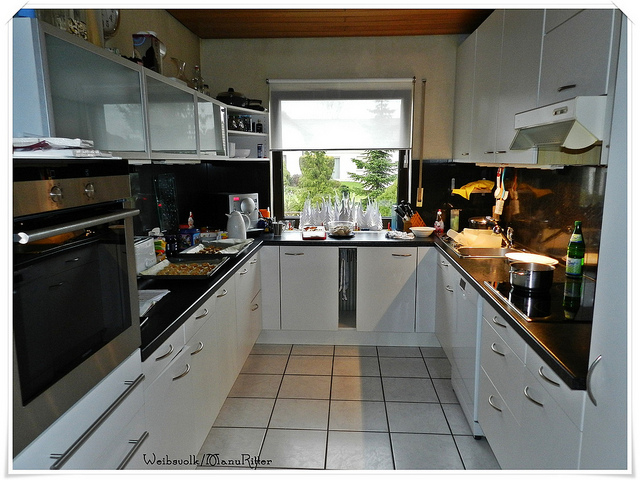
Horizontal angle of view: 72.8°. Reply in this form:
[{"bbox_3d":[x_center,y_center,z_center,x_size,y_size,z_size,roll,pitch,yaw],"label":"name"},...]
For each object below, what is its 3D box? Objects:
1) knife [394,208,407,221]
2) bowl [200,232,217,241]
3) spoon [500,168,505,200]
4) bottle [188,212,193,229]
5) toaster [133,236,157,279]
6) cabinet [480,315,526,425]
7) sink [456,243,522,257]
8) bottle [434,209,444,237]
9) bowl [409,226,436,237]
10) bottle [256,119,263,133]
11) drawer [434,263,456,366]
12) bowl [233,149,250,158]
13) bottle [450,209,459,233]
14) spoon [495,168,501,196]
[{"bbox_3d":[0.815,-0.265,4.330,0.040,0.157,0.042,-35,-25,10],"label":"knife"},{"bbox_3d":[-0.987,-0.038,3.880,0.143,0.062,0.059,1,10,5],"label":"bowl"},{"bbox_3d":[1.545,-0.483,3.656,0.039,0.253,0.202,4,11,23],"label":"spoon"},{"bbox_3d":[-1.122,-0.176,3.778,0.038,0.119,0.167,-3,10,-16],"label":"bottle"},{"bbox_3d":[-1.125,0.113,2.800,0.150,0.187,0.252,0,10,0],"label":"toaster"},{"bbox_3d":[0.996,0.689,2.373,0.292,0.333,0.464,1,14,0],"label":"cabinet"},{"bbox_3d":[1.317,0.073,3.477,0.324,0.077,0.199,1,8,6],"label":"sink"},{"bbox_3d":[1.175,-0.180,4.264,0.077,0.224,0.397,3,10,15],"label":"bottle"},{"bbox_3d":[0.987,-0.091,4.142,0.230,0.089,0.174,2,10,12],"label":"bowl"},{"bbox_3d":[-0.604,-1.157,4.380,0.054,0.136,0.109,0,10,-1],"label":"bottle"},{"bbox_3d":[1.039,0.579,3.585,0.165,0.568,0.400,3,9,7],"label":"drawer"},{"bbox_3d":[-0.752,-0.843,4.222,0.101,0.053,0.103,-3,9,0],"label":"bowl"},{"bbox_3d":[1.350,-0.201,4.337,0.093,0.220,0.161,3,10,17],"label":"bottle"},{"bbox_3d":[1.515,-0.497,3.678,0.040,0.208,0.040,2,15,6],"label":"spoon"}]
